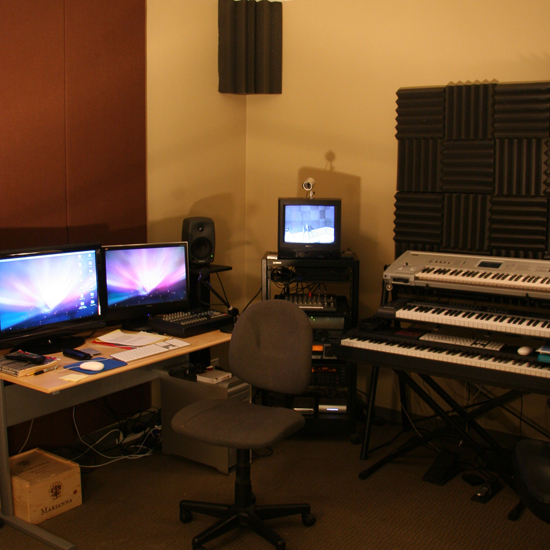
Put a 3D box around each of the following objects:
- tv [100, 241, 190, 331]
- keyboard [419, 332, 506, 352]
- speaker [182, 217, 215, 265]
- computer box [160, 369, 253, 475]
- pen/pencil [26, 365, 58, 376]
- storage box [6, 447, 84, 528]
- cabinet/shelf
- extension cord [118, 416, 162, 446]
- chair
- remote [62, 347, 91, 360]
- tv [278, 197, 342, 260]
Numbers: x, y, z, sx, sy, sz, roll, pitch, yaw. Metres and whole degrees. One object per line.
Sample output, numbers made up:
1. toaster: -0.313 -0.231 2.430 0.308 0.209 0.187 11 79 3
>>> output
1. tv: -0.769 0.069 3.233 0.475 0.457 0.201 -5 6 -36
2. keyboard: 0.943 0.336 2.815 0.402 0.015 0.177 6 10 32
3. speaker: -0.483 -0.236 3.595 0.201 0.309 0.198 2 17 4
4. computer box: -0.402 0.831 3.428 0.607 0.663 0.390 4 9 25
5. pen/pencil: -1.045 0.425 2.500 0.014 0.023 0.133 -36 -12 29
6. storage box: -1.217 1.063 2.813 0.355 0.210 0.359 6 2 37
7. cabinet/shelf: 0.253 0.453 3.781 0.667 1.170 0.555 1 3 14
8. extension cord: -0.896 1.014 3.628 0.121 0.056 0.203 -4 3 18
9. chair: -0.115 0.680 2.615 0.606 1.056 0.686 7 10 37
10. remote: -0.971 0.384 2.735 0.104 0.025 0.062 10 10 29
11. tv: 0.208 -0.294 3.749 0.559 0.523 0.328 1 7 1
